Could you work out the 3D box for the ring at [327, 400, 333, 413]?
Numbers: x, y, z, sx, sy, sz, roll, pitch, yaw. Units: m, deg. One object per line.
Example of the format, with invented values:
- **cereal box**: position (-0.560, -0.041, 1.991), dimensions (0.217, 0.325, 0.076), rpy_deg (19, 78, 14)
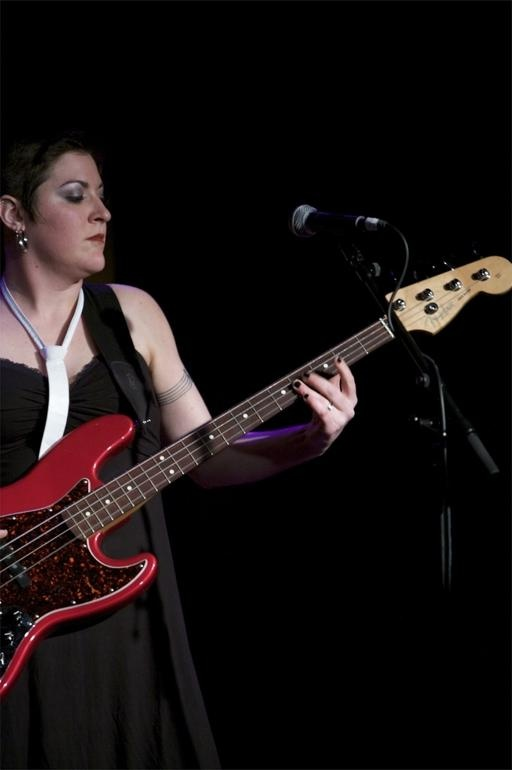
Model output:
- **ring**: position (0.164, 0.047, 1.608), dimensions (0.014, 0.018, 0.006), rpy_deg (-3, 7, 41)
